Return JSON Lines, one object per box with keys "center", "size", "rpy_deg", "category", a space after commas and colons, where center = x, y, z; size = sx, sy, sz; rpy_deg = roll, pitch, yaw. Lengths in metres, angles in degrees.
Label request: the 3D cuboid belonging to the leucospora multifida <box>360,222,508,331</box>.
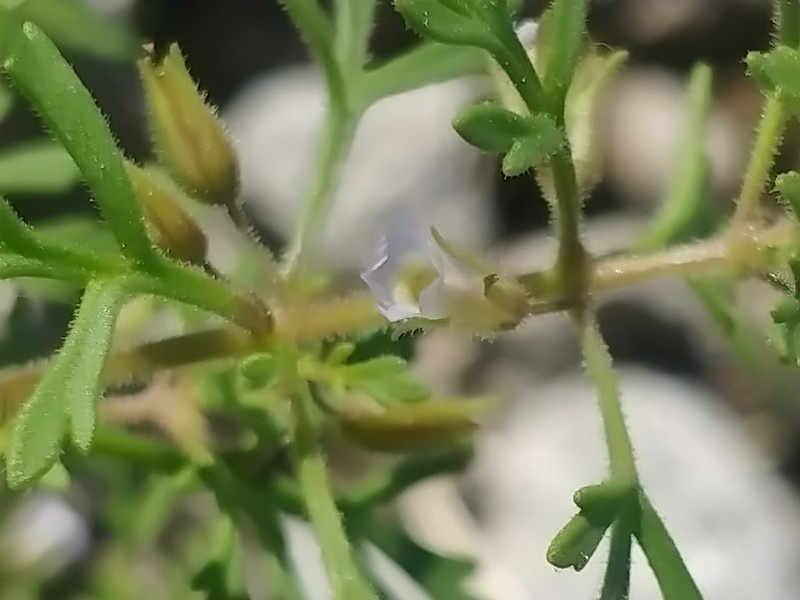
{"center": [0.031, -0.067, 1.800], "size": [0.165, 0.091, 0.236], "rpy_deg": [25, 15, 31], "category": "leucospora multifida"}
